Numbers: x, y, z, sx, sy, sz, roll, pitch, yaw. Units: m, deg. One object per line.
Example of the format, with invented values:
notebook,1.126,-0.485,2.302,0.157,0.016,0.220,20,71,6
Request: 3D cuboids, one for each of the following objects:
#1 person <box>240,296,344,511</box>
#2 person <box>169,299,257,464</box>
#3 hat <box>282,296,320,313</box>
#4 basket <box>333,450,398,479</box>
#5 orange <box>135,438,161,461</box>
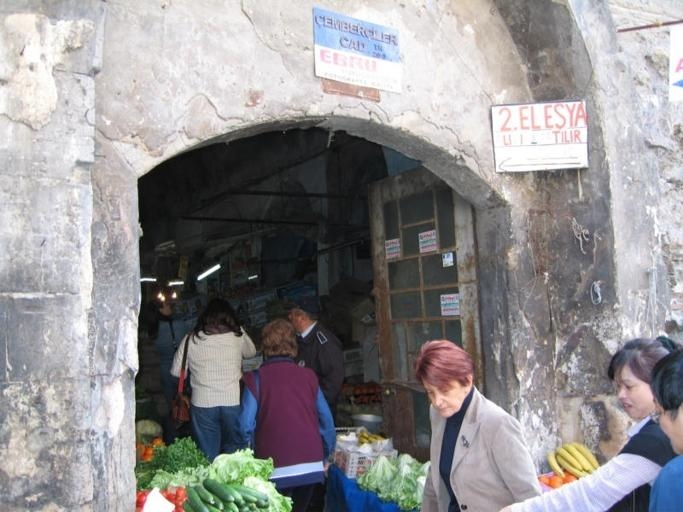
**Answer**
person,-0.372,1.171,5.637,0.963,1.629,0.996,-1,-10,-14
person,-1.125,1.284,6.264,0.673,1.911,0.523,-4,11,-10
hat,-0.355,0.425,6.210,0.239,0.129,0.181,8,-5,9
basket,0.175,1.615,5.476,0.260,0.124,0.286,3,-9,-23
orange,-1.471,1.457,5.270,0.164,0.156,0.296,2,-5,-3
